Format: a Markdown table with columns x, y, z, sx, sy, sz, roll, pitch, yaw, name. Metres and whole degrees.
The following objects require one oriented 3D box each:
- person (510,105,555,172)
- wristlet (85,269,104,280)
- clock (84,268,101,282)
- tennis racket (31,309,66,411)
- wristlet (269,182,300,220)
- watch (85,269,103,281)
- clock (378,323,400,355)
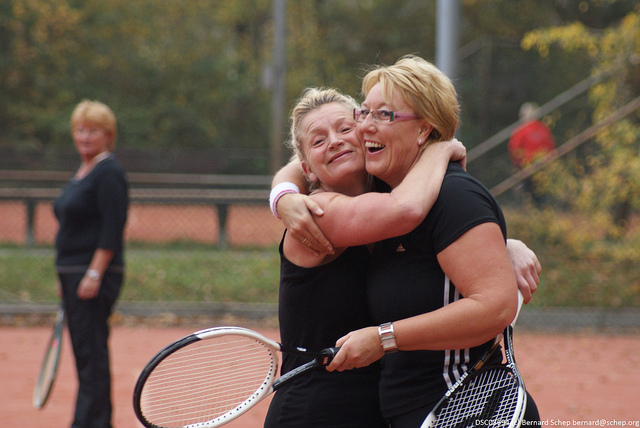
| x | y | z | sx | sy | sz | roll | pitch | yaw | name |
| --- | --- | --- | --- | --- | --- | --- | --- | --- | --- |
| 2.576 | -0.982 | 15.434 | 0.511 | 0.662 | 0.736 | 0 | 46 | 9 | person |
| -2.257 | 0.600 | 12.511 | 0.117 | 0.092 | 0.108 | 1 | -25 | -33 | wristlet |
| -2.281 | 0.609 | 12.506 | 0.131 | 0.105 | 0.121 | -5 | -4 | 27 | clock |
| -2.743 | 1.499 | 12.643 | 0.275 | 1.133 | 0.118 | 13 | 3 | 28 | tennis racket |
| -0.370 | -0.145 | 11.519 | 0.290 | 0.315 | 0.216 | 10 | -15 | -34 | wristlet |
| -2.254 | 0.595 | 12.515 | 0.119 | 0.066 | 0.090 | 44 | 35 | 24 | watch |
| 0.578 | 1.087 | 11.048 | 0.148 | 0.263 | 0.251 | -9 | 3 | -2 | clock |
